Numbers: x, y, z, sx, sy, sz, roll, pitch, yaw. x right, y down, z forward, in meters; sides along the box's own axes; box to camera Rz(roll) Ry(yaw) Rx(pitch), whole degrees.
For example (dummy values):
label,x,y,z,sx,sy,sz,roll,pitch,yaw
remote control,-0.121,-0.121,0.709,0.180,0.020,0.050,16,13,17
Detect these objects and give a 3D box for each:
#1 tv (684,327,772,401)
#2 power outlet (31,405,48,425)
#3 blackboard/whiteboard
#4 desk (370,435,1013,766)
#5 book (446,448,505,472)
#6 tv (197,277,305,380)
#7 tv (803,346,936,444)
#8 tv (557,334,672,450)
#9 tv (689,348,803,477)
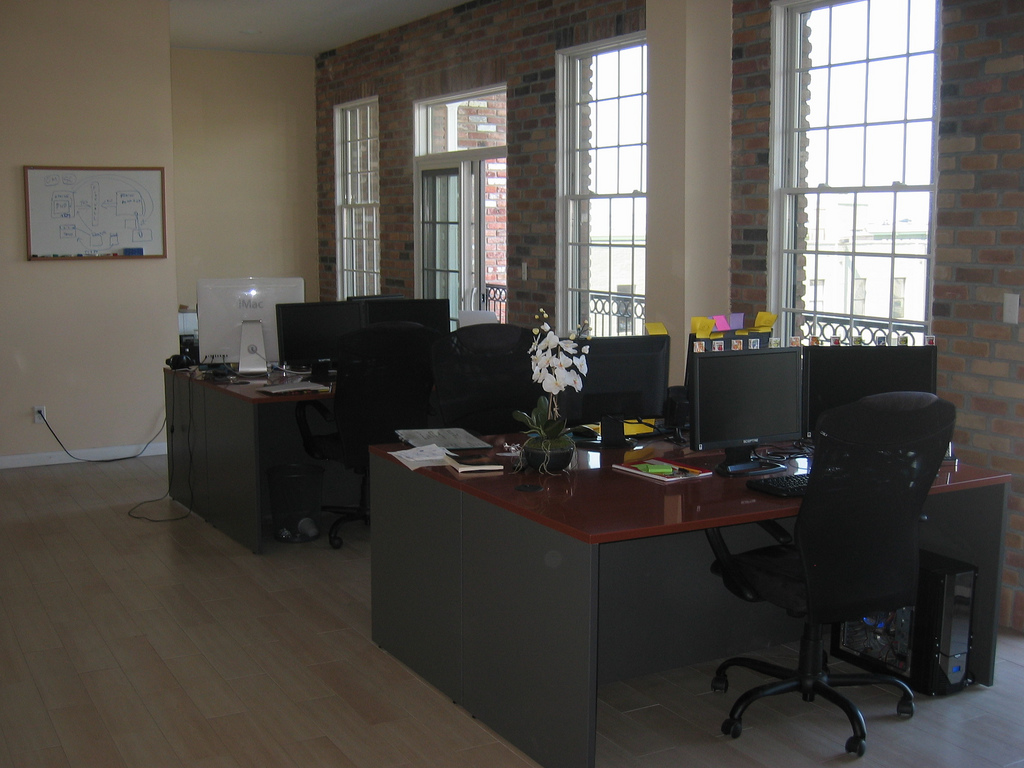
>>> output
label,x,y,z,sx,sy,sz,roll,pitch,yaw
tv,1.025,-0.097,3.635,0.238,0.279,0.422,7,-7,-37
power outlet,-3.711,0.239,6.340,0.141,0.200,0.107,-1,6,-30
blackboard/whiteboard,-3.319,-1.348,6.303,0.783,0.582,0.028,-4,11,-24
desk,0.182,0.665,3.136,1.699,0.828,1.281,-4,12,-29
book,-0.149,0.295,3.089,0.140,0.050,0.106,2,1,-39
tv,-1.686,-0.370,5.193,0.707,0.592,0.285,-3,14,-7
tv,1.555,0.022,3.529,0.692,0.400,0.056,-1,1,-14
tv,0.475,0.037,3.566,0.498,0.454,0.161,-1,-6,33
tv,0.917,0.100,3.201,0.517,0.472,0.148,-3,5,-20
